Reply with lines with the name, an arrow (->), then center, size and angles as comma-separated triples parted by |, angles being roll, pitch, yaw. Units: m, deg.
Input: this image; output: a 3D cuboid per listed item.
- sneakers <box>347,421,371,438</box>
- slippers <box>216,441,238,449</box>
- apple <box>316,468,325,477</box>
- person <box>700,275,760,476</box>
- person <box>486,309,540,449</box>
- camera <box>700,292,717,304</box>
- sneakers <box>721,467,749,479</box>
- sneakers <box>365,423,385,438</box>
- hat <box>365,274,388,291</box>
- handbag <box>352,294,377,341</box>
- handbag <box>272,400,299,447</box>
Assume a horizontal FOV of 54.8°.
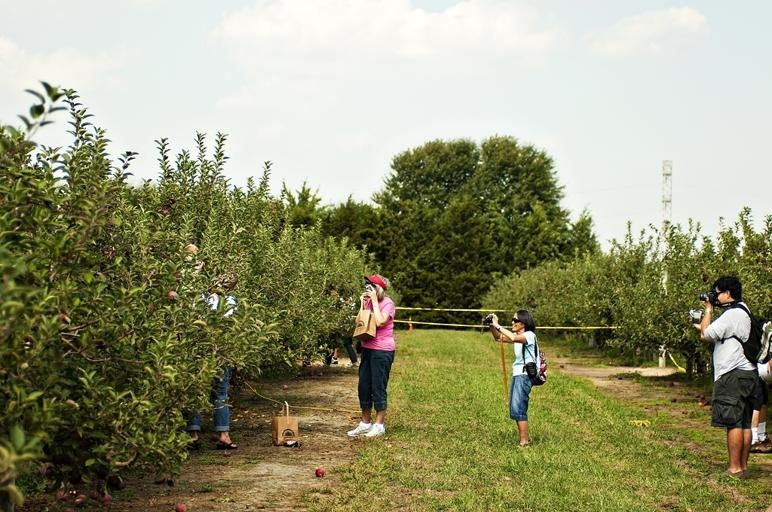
sneakers -> -0.429, 2.841, 12.289 | 0.436, 0.193, 0.168 | -6, 0, -15
slippers -> -2.382, 2.801, 11.142 | 0.264, 0.082, 0.131 | 2, 1, -28
apple -> -0.891, 2.900, 10.057 | 0.084, 0.066, 0.110 | 11, 22, 38
person -> 4.856, 1.656, 10.492 | 0.635, 2.572, 0.462 | 2, 1, 30
person -> 2.111, 1.884, 11.996 | 0.830, 1.583, 1.415 | 1, 1, 10
camera -> 4.823, 0.617, 11.153 | 0.231, 0.149, 0.221 | -1, -2, 14
sneakers -> 4.824, 3.002, 10.324 | 0.362, 0.162, 0.134 | 0, -2, 30
sneakers -> -0.189, 2.842, 12.189 | 0.141, 0.177, 0.406 | -3, 0, 40
hat -> -0.133, 0.429, 12.530 | 0.364, 0.190, 0.250 | 30, 1, -23
handbag -> -0.327, 1.042, 12.285 | 0.353, 0.725, 0.514 | 1, 1, -1
handbag -> -1.560, 2.569, 11.576 | 0.416, 0.657, 0.454 | 1, 1, -10
